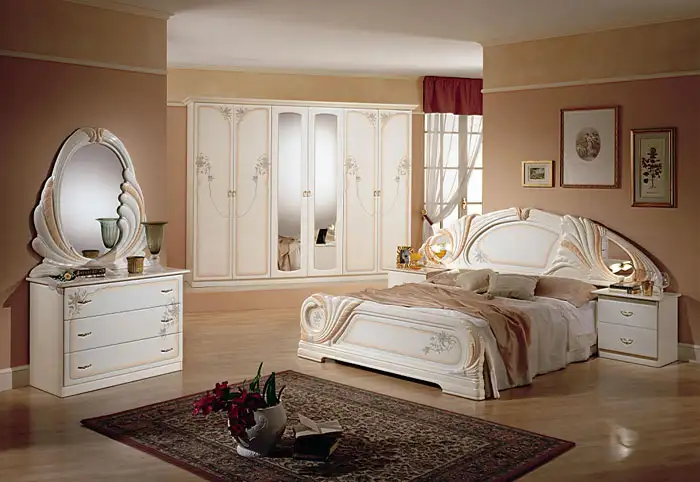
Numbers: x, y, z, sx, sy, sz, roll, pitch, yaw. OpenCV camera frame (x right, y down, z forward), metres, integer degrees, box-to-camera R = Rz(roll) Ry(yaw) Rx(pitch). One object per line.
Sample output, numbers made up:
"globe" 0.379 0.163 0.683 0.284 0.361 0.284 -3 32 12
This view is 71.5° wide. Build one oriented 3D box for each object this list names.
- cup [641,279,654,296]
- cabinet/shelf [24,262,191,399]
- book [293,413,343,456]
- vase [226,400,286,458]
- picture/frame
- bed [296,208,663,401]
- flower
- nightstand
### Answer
"cup" 3.190 0.514 5.283 0.150 0.148 0.152 -2 2 0
"cabinet/shelf" -2.395 0.861 4.866 0.655 0.967 1.285 0 0 29
"book" -0.220 1.331 3.328 0.321 0.214 0.269 -1 5 -8
"vase" -0.632 1.276 3.243 0.363 0.262 0.334 -3 8 -14
"picture/frame" 2.994 -0.988 5.694 1.368 0.884 0.053 1 1 38
"bed" 1.211 0.502 5.717 2.707 1.703 3.374 -3 3 -38
"flower" -0.745 1.080 3.308 0.566 0.230 0.352 -4 15 -33
"nightstand" 3.198 0.966 5.407 0.533 0.675 0.700 0 -1 -31
